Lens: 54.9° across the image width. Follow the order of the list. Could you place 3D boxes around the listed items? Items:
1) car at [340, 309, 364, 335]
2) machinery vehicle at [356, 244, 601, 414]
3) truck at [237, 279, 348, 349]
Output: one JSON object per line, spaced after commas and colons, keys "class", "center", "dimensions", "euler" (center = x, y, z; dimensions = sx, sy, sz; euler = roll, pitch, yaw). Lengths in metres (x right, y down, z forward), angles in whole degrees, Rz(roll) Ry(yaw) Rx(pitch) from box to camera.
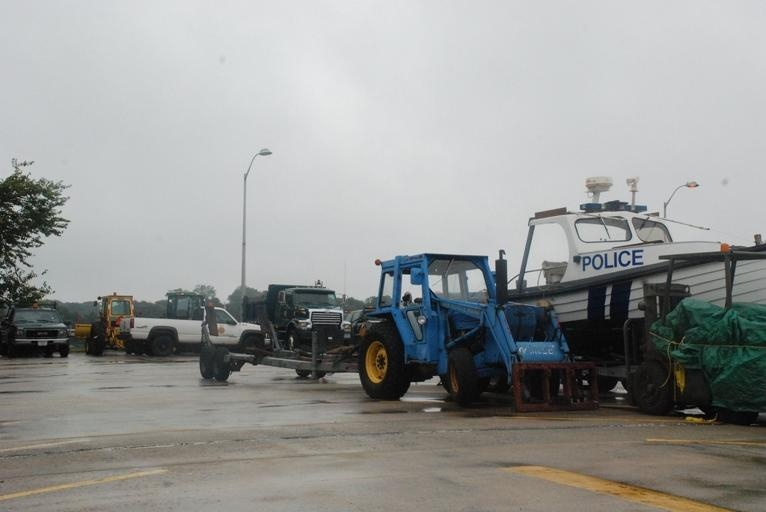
{"class": "car", "center": [-1.173, 2.494, 27.412], "dimensions": [1.078, 0.913, 1.828], "euler": [-1, -8, 1]}
{"class": "machinery vehicle", "center": [1.864, 1.492, 15.139], "dimensions": [2.761, 2.895, 5.042], "euler": [4, -9, -30]}
{"class": "truck", "center": [-3.353, 2.105, 27.683], "dimensions": [2.732, 2.440, 5.428], "euler": [4, -11, -31]}
